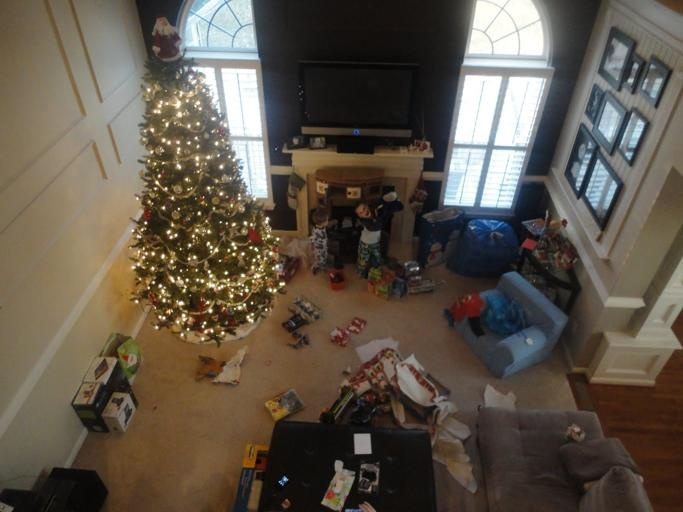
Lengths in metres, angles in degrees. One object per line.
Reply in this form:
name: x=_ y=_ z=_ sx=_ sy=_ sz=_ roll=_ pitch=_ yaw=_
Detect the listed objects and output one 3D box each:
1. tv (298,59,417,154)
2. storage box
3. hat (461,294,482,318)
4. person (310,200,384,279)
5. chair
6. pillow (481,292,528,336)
tv: x=0.198 y=-2.088 z=6.879 sx=1.218 sy=0.937 sz=0.380 roll=2 pitch=47 yaw=2
storage box: x=-2.779 y=1.632 z=5.977 sx=0.575 sy=0.723 sz=0.595 roll=-3 pitch=33 yaw=-2
hat: x=1.743 y=0.669 z=6.737 sx=0.281 sy=0.093 sz=0.292 roll=-9 pitch=68 yaw=38
person: x=0.071 y=-0.230 z=7.610 sx=1.200 sy=1.647 sz=0.591 roll=-2 pitch=59 yaw=1
chair: x=2.180 y=1.015 z=6.881 sx=1.179 sy=1.007 sz=1.323 roll=-24 pitch=63 yaw=-17
pillow: x=2.090 y=0.756 z=6.691 sx=0.421 sy=0.219 sz=0.571 roll=-10 pitch=55 yaw=2
